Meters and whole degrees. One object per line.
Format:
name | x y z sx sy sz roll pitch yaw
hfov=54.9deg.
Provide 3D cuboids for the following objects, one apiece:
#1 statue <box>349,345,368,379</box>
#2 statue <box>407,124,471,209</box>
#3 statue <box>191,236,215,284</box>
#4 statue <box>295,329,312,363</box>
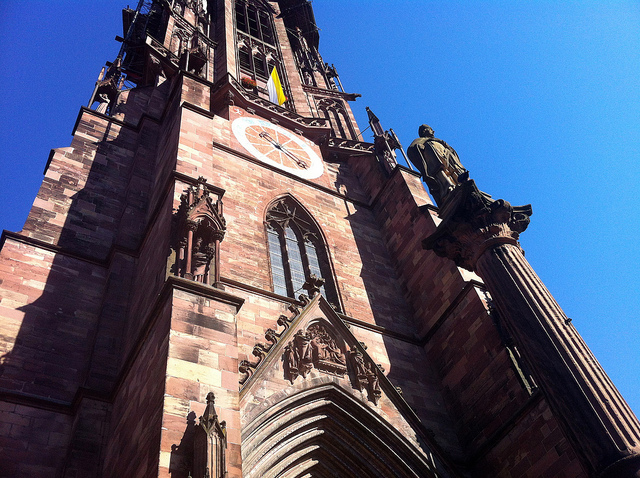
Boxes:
statue | 0.693 2.277 11.455 0.293 0.680 0.185 6 -57 -12
statue | 2.645 -1.755 14.134 0.954 2.665 0.516 -29 -57 12
statue | -1.896 0.360 9.939 0.486 0.953 0.213 22 -67 -25
statue | -0.285 1.929 11.114 0.319 0.703 0.156 16 -59 -18
